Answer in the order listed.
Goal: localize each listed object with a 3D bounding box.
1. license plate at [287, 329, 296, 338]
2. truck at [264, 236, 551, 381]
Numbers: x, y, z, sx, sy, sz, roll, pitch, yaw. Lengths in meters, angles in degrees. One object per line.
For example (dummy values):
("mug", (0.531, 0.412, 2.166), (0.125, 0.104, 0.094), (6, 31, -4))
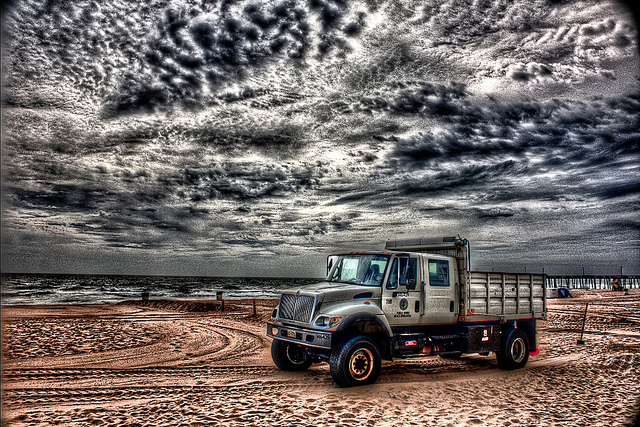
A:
("license plate", (-0.829, 3.433, 11.951), (0.061, 0.225, 0.388), (3, -2, -36))
("truck", (3.558, 3.071, 14.492), (9.999, 3.368, 4.638), (9, -15, -29))
